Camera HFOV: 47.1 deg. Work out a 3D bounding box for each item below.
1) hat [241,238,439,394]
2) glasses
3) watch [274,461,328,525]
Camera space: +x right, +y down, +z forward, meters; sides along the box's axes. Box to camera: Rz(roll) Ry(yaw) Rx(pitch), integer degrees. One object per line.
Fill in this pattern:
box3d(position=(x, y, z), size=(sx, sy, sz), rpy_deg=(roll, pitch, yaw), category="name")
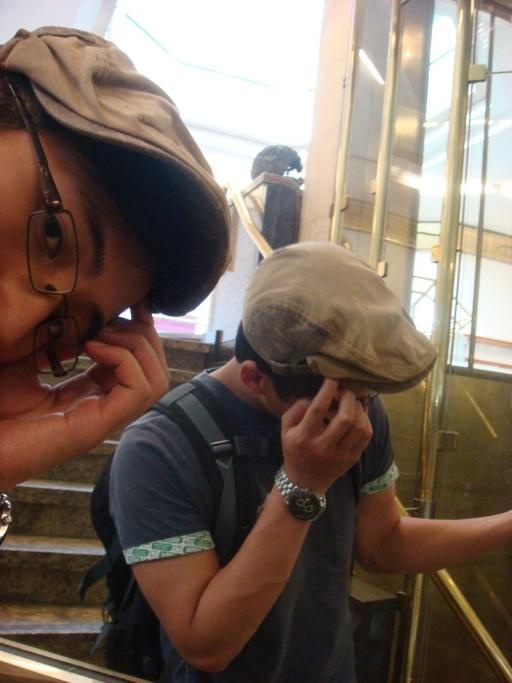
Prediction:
box3d(position=(0.128, -0.030, 1.057), size=(0.321, 0.154, 0.235), rpy_deg=(17, 32, 28), category="hat")
box3d(position=(-0.203, -0.071, 0.589), size=(0.072, 0.222, 0.235), rpy_deg=(-3, 38, -17), category="glasses")
box3d(position=(0.074, 0.270, 1.055), size=(0.063, 0.099, 0.095), rpy_deg=(-25, 49, -25), category="watch")
